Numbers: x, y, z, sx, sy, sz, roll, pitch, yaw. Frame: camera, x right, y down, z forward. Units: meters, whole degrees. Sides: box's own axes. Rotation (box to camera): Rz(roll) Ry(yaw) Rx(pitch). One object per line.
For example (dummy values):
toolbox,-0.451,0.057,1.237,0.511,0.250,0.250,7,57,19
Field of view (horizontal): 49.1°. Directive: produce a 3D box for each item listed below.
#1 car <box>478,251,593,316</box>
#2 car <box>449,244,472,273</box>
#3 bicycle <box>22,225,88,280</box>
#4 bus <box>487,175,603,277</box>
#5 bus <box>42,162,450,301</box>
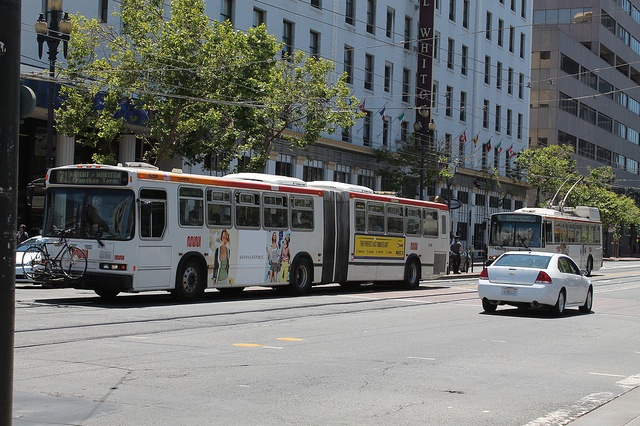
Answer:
car,6.488,2.090,20.824,3.266,1.788,1.518,3,0,-25
car,8.823,3.025,43.746,1.261,0.939,2.765,-1,-1,17
bicycle,-7.375,1.207,19.792,1.682,0.997,0.637,2,0,18
bus,13.851,0.902,45.598,4.384,5.444,13.836,-3,-7,37
bus,-1.060,0.819,26.313,3.359,3.330,18.317,2,0,41
